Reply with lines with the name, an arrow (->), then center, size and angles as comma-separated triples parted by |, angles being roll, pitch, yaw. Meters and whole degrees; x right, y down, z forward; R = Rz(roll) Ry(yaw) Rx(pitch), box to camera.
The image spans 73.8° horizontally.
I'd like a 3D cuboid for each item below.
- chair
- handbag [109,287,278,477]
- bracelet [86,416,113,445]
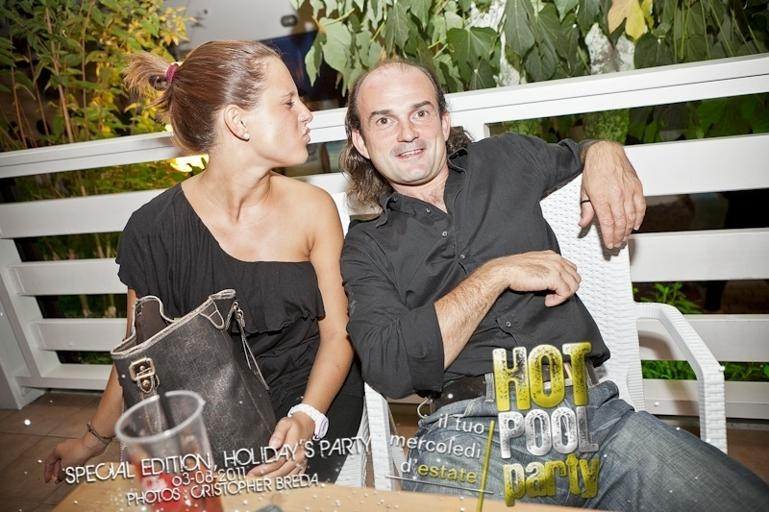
chair -> 0.507, 0.199, 1.716 | 0.773, 1.126, 0.799 | -19, 10, 3
handbag -> -0.516, 0.356, 1.423 | 0.355, 0.486, 0.339 | -18, 18, 37
bracelet -> -0.941, 0.580, 1.706 | 0.086, 0.034, 0.062 | 34, 29, 3
